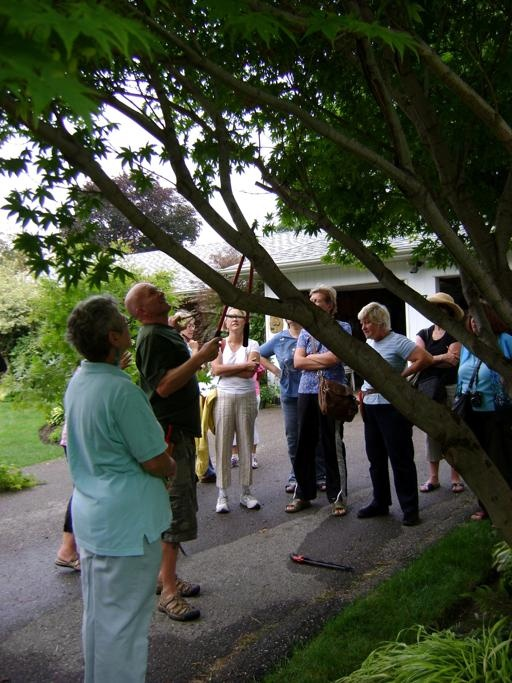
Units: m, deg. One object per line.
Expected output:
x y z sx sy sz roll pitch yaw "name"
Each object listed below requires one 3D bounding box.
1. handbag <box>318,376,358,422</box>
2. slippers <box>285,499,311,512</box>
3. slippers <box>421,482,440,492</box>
0.790 0.519 4.544 0.364 0.363 0.365 -4 11 -33 "handbag"
0.456 1.740 5.133 0.301 0.111 0.107 8 -11 -39 "slippers"
1.994 1.688 5.585 0.087 0.047 0.214 -9 -13 43 "slippers"
